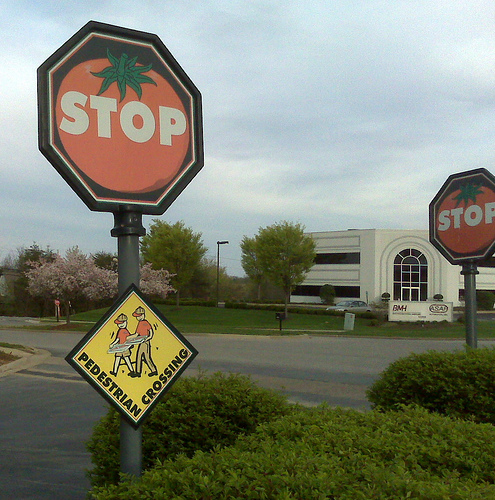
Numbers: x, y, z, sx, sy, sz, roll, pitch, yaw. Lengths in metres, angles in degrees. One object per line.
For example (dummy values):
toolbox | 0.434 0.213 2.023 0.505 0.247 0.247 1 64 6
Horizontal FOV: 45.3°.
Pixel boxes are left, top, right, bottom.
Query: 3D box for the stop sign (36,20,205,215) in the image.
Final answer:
stop sign | -0.733 -0.658 3.408 1.056 1.190 0.206 -3 4 -44
